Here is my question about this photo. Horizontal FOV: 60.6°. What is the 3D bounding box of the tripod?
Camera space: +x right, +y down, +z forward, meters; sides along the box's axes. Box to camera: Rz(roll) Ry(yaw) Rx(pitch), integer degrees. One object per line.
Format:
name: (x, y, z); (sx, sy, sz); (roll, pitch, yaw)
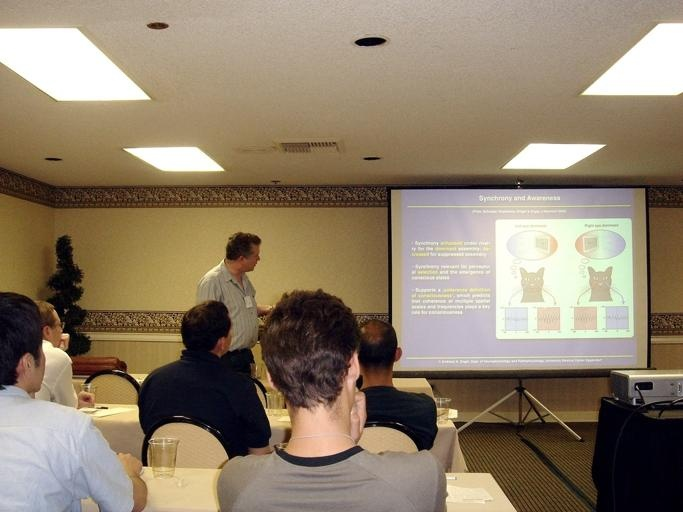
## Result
tripod: (2.186, 1.811, 6.906); (0.998, 0.481, 0.891); (0, -15, 5)
